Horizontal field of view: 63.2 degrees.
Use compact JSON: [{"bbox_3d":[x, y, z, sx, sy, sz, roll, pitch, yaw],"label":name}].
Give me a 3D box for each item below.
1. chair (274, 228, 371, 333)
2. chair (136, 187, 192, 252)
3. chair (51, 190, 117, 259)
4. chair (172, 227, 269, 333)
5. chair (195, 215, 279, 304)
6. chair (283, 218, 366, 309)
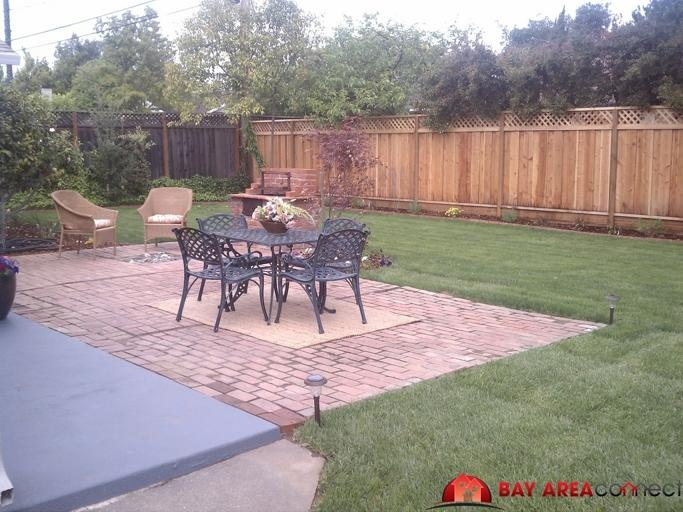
[{"bbox_3d":[-0.232,0.235,6.447,0.976,1.261,1.028,-2,12,-22],"label":"chair"},{"bbox_3d":[-3.390,-0.709,10.826,0.868,1.305,0.957,0,6,-19],"label":"chair"},{"bbox_3d":[-4.514,-0.576,9.891,0.942,1.158,1.032,6,9,35],"label":"chair"},{"bbox_3d":[-1.403,0.204,6.521,1.036,1.254,1.042,-4,12,-19],"label":"chair"},{"bbox_3d":[-1.231,-0.035,7.247,0.889,1.538,1.022,-7,8,-43],"label":"chair"},{"bbox_3d":[-0.196,0.173,6.501,0.886,1.279,0.949,-4,14,-28],"label":"chair"}]
